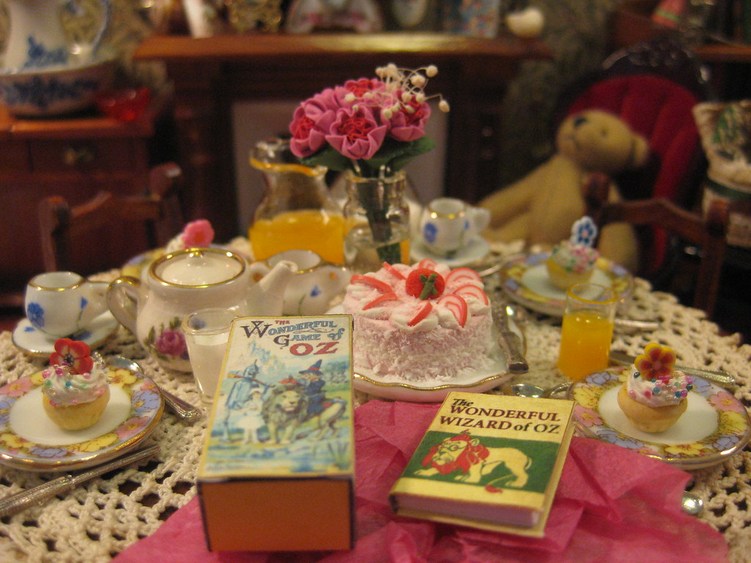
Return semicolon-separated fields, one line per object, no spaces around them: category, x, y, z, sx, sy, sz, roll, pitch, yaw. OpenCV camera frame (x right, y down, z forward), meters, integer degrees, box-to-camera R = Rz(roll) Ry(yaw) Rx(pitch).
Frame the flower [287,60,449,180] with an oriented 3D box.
flower;-0.033;-0.378;1.621;0.313;0.325;0.322;-24;28;-19

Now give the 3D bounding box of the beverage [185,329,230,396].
beverage;-0.373;0.174;1.363;0.106;0.152;0.100;-9;25;-23

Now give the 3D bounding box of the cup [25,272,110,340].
cup;-0.796;0.065;1.641;0.260;0.149;0.179;2;18;-13

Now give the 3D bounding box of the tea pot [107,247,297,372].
tea pot;-0.433;0.033;1.594;0.422;0.280;0.298;1;27;-2

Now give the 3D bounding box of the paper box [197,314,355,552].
paper box;-0.179;0.275;1.238;0.293;0.168;0.494;-3;31;-7
